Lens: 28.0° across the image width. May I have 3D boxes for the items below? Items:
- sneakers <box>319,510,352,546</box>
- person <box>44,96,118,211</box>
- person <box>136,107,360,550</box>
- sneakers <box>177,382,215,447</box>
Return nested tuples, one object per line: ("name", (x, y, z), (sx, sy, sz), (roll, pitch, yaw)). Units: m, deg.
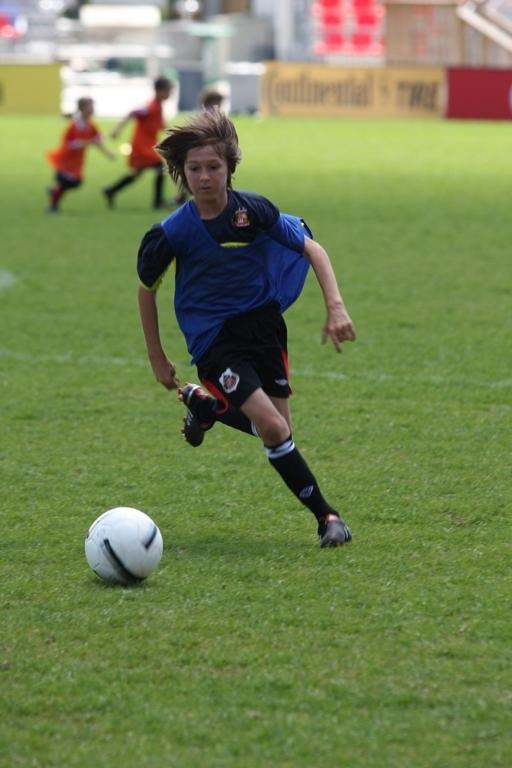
("sneakers", (0.251, 0.467, 3.281), (0.096, 0.051, 0.104), (-8, 52, 3))
("person", (-1.497, -1.884, 8.643), (0.497, 0.950, 2.066), (-2, 13, -11))
("person", (0.009, -0.192, 3.364), (0.722, 1.358, 0.537), (4, 16, 13))
("sneakers", (-0.198, 0.116, 3.794), (0.146, 0.262, 0.097), (-15, 41, -8))
